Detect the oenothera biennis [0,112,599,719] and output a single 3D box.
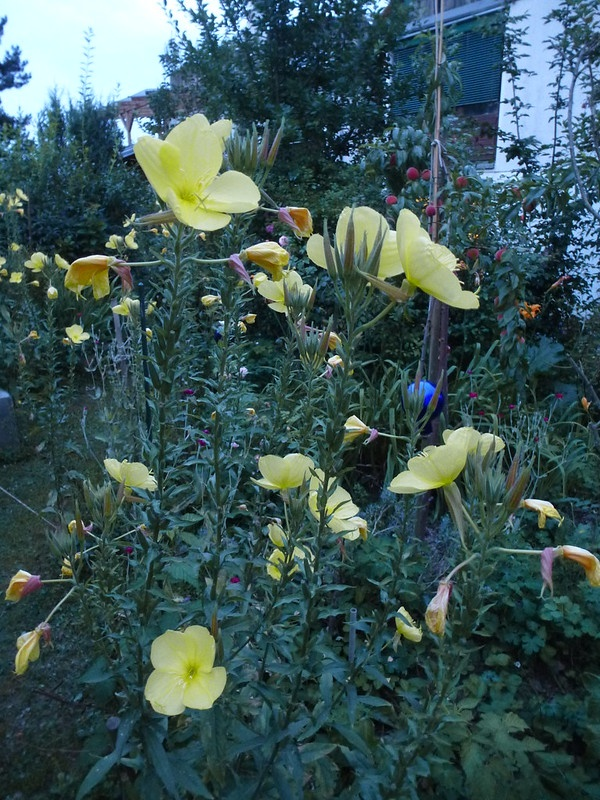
[{"bbox_3d":[-0.059,0.076,1.325,1.233,1.245,0.563,0,19,-1],"label":"oenothera biennis"}]
